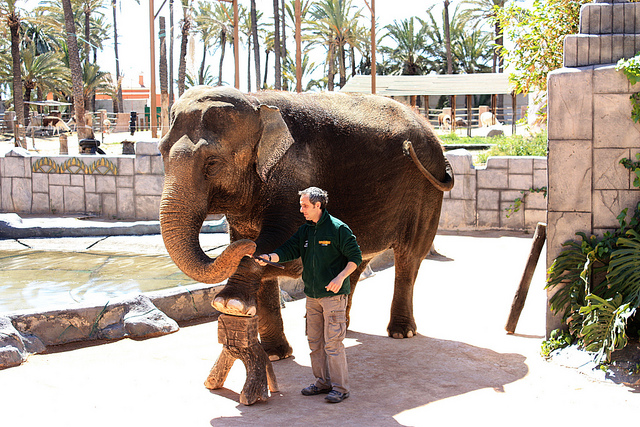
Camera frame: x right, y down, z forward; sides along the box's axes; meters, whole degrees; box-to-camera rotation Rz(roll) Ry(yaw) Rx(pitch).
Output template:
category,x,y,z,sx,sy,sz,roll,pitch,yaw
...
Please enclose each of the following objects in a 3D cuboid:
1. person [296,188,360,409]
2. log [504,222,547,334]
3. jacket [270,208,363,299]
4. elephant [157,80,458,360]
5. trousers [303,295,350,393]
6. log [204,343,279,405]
category,x,y,z,sx,sy,sz,roll,pitch,yaw
person,0.053,0.858,7.131,0.677,2.203,0.657,5,13,22
log,2.720,0.836,8.985,0.431,1.454,0.574,4,13,18
jacket,-0.117,0.420,7.151,1.037,0.934,0.593,1,-3,12
elephant,-0.198,0.193,8.479,1.565,3.085,4.683,-4,0,42
trousers,0.110,1.395,7.384,0.502,0.997,0.571,0,0,21
log,-0.873,1.700,7.406,0.726,0.587,0.547,0,0,-7
